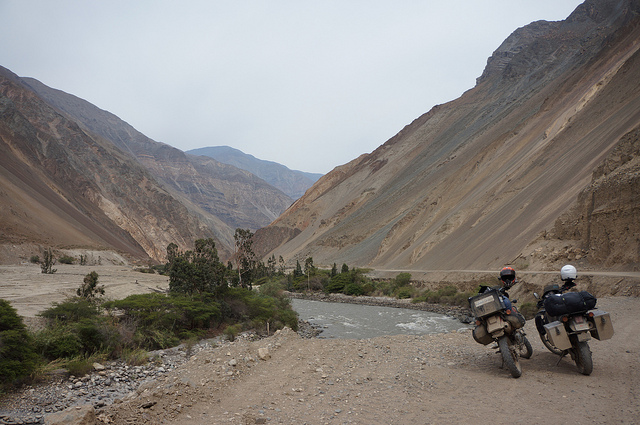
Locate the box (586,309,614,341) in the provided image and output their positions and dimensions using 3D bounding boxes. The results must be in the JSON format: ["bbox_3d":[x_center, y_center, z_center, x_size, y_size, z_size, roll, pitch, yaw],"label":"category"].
[{"bbox_3d":[8.288,3.369,12.230,0.598,0.808,0.346,-4,5,6],"label":"box"}]

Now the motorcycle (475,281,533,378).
[{"bbox_3d":[5.900,3.987,13.039,1.055,1.975,1.373,0,6,41],"label":"motorcycle"}]
